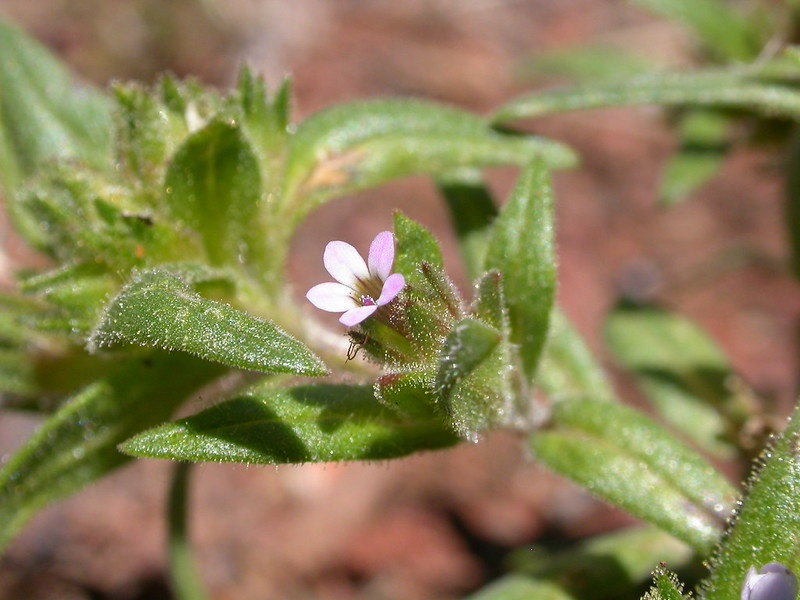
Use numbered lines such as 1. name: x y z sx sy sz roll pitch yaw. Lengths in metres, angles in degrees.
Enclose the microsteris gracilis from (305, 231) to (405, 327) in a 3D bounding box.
1. microsteris gracilis: -0.108 -0.056 2.553 0.304 0.159 0.316 4 67 44
